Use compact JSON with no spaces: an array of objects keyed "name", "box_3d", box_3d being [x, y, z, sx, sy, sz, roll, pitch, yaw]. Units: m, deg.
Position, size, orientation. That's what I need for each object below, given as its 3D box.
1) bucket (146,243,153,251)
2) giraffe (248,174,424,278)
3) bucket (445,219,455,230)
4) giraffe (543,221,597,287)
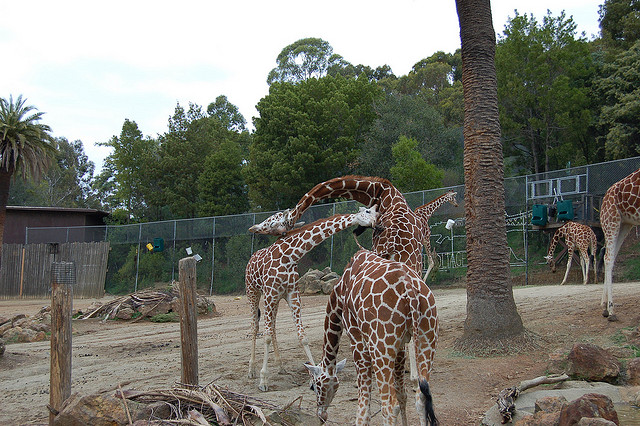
[{"name":"bucket","box_3d":[-10.281,2.101,40.467,0.296,0.413,0.483,-1,-4,-15]},{"name":"giraffe","box_3d":[1.078,0.423,21.779,5.597,3.932,1.739,-9,19,-8]},{"name":"bucket","box_3d":[6.571,0.592,33.473,0.302,0.512,0.329,23,5,-2]},{"name":"giraffe","box_3d":[11.736,1.802,30.641,1.672,2.910,2.571,-2,-3,-7]}]
